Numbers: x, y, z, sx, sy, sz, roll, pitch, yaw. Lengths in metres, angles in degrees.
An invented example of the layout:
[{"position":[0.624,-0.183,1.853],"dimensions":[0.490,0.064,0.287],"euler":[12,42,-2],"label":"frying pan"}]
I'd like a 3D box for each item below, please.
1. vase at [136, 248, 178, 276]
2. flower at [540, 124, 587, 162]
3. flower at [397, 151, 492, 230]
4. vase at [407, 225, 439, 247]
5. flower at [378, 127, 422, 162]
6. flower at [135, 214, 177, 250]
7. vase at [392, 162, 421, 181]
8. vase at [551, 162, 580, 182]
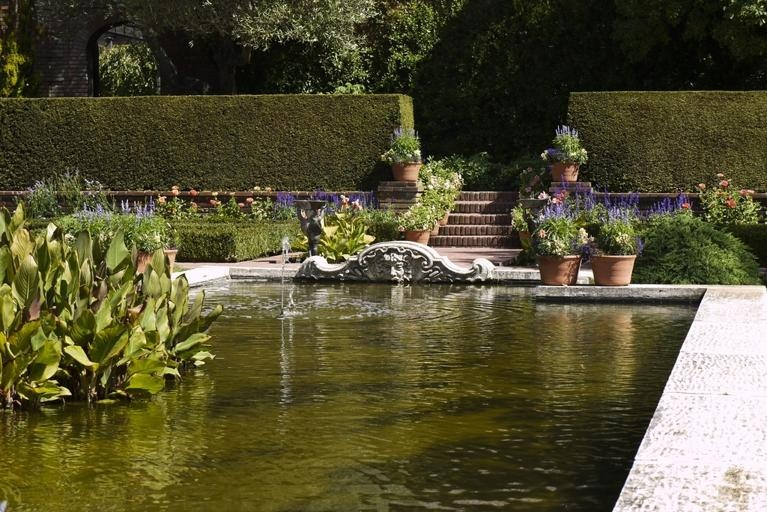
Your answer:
[{"position":[-2.590,0.059,10.934],"dimensions":[0.381,0.269,0.375],"euler":[1,6,8],"label":"vase"},{"position":[3.538,-2.158,18.691],"dimensions":[0.580,0.661,0.696],"euler":[-14,17,-43],"label":"flower"},{"position":[1.145,-1.350,20.397],"dimensions":[1.051,0.946,3.145],"euler":[2,20,14],"label":"flower"},{"position":[0.680,-0.384,18.248],"dimensions":[0.476,0.325,0.469],"euler":[0,5,4],"label":"vase"},{"position":[0.434,-2.267,20.239],"dimensions":[0.820,0.567,0.826],"euler":[7,9,30],"label":"flower"},{"position":[-3.282,-0.348,14.076],"dimensions":[0.736,0.499,0.747],"euler":[0,7,-30],"label":"flower"},{"position":[0.473,-1.741,20.039],"dimensions":[0.448,0.265,0.438],"euler":[-2,6,-30],"label":"vase"},{"position":[3.480,-1.596,18.643],"dimensions":[0.412,0.258,0.417],"euler":[3,2,34],"label":"vase"}]
